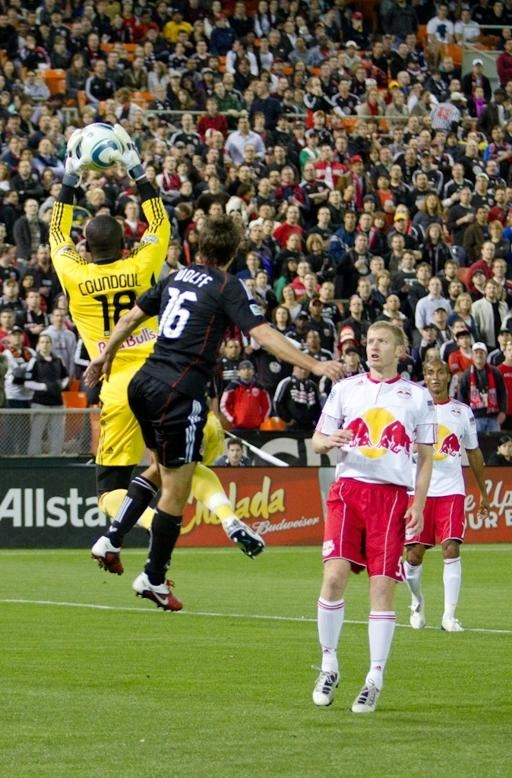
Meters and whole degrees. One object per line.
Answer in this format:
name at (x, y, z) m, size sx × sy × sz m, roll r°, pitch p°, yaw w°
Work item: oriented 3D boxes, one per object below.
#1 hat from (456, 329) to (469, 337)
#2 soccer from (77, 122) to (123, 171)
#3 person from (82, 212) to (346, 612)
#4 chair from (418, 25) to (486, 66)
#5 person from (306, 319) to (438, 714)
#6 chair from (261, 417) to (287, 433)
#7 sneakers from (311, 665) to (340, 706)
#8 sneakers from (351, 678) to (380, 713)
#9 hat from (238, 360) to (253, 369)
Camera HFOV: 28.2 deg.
hat at (2.770, -0.739, 13.751) m, size 0.187 × 0.126 × 0.225 m, roll 3°, pitch 9°, yaw 8°
soccer at (-0.987, -1.513, 6.501) m, size 0.284 × 0.273 × 0.317 m, roll 13°, pitch -33°, yaw -3°
person at (-0.371, 0.205, 5.085) m, size 0.513 × 2.108 × 1.547 m, roll -4°, pitch 12°, yaw -30°
chair at (4.540, -8.201, 24.348) m, size 1.641 × 0.953 × 0.968 m, roll 5°, pitch 15°, yaw 19°
person at (0.448, 0.546, 4.142) m, size 0.490 × 1.604 × 0.800 m, roll 4°, pitch 11°, yaw 9°
chair at (0.212, 0.448, 12.483) m, size 0.209 × 0.189 × 0.199 m, roll -29°, pitch 37°, yaw -10°
sneakers at (0.265, 1.166, 3.975) m, size 0.092 × 0.159 × 0.150 m, roll 4°, pitch 10°, yaw 8°
sneakers at (0.420, 1.161, 3.921) m, size 0.061 × 0.065 × 0.172 m, roll 16°, pitch 18°, yaw 10°
hat at (-0.135, -0.293, 12.288) m, size 0.133 × 0.087 × 0.099 m, roll -17°, pitch 10°, yaw 29°
